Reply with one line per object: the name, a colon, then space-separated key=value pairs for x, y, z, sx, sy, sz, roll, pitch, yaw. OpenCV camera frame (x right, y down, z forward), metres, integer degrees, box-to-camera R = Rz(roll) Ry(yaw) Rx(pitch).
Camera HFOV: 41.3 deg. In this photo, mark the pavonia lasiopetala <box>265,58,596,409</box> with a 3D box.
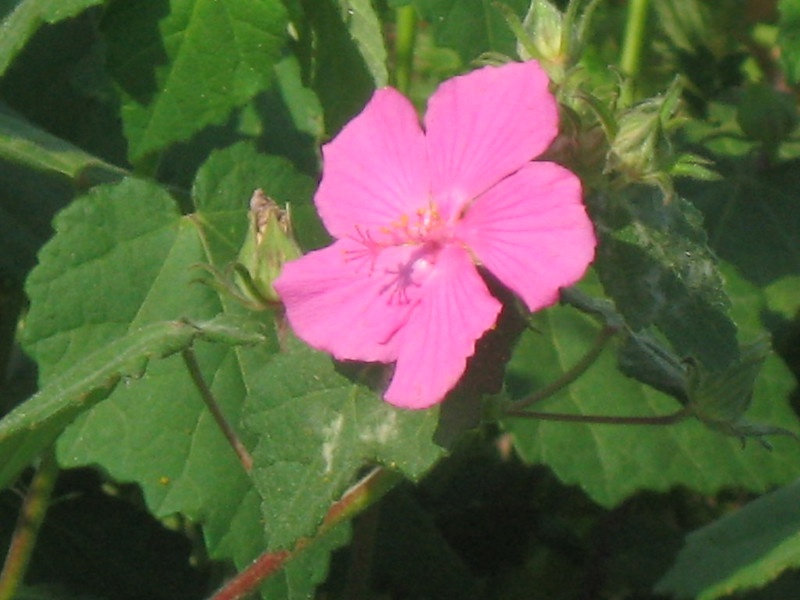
pavonia lasiopetala: x=0.039 y=-0.064 z=1.156 sx=0.233 sy=0.277 sz=0.104 roll=6 pitch=-66 yaw=-25
